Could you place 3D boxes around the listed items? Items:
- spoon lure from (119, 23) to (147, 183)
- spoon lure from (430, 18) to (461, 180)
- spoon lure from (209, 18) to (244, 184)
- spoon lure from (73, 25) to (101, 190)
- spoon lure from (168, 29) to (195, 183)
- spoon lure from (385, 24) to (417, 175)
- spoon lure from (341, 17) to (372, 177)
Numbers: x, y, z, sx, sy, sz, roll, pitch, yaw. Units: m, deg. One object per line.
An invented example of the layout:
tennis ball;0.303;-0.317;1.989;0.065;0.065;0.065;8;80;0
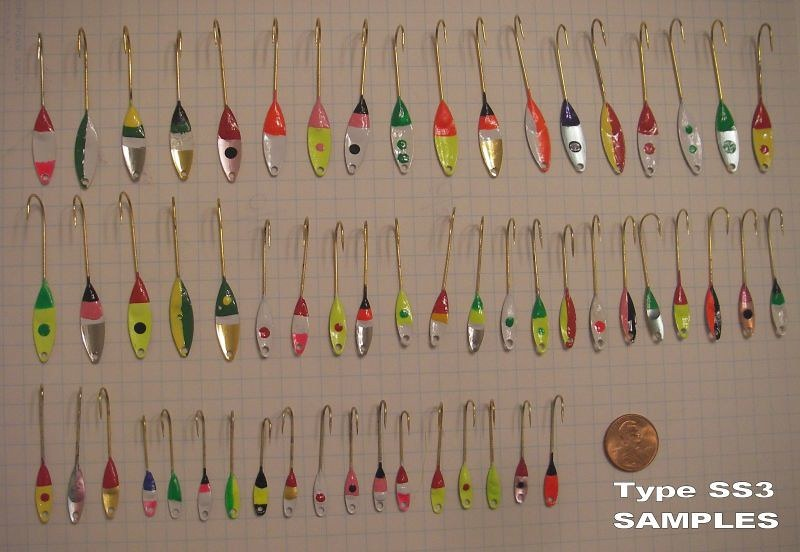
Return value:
spoon lure;-0.940;-0.578;3.850;0.071;0.598;0.086;-2;-1;-15
spoon lure;0.152;-0.638;3.939;0.065;0.645;0.131;-2;3;-3
spoon lure;-0.605;-0.564;3.822;0.076;0.648;0.086;-3;-2;-13
spoon lure;-1.094;-0.622;3.884;0.064;0.647;0.121;-1;0;-4
spoon lure;-0.779;-0.568;3.912;0.062;0.613;0.091;-2;-3;-1
spoon lure;0.001;-0.589;3.918;0.062;0.602;0.122;-2;2;-2
spoon lure;-0.150;-0.619;3.833;0.075;0.585;0.092;1;1;-13
